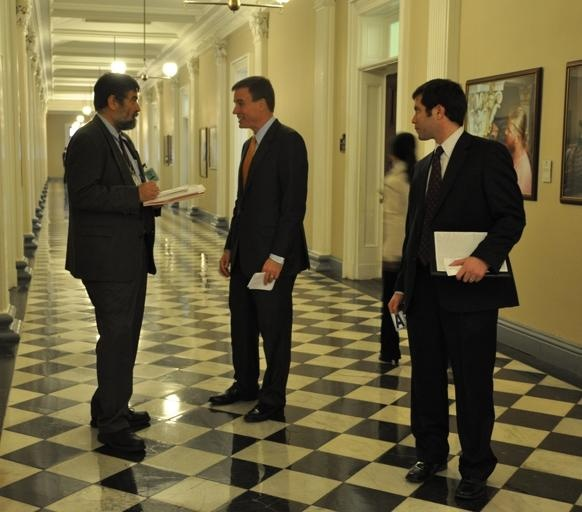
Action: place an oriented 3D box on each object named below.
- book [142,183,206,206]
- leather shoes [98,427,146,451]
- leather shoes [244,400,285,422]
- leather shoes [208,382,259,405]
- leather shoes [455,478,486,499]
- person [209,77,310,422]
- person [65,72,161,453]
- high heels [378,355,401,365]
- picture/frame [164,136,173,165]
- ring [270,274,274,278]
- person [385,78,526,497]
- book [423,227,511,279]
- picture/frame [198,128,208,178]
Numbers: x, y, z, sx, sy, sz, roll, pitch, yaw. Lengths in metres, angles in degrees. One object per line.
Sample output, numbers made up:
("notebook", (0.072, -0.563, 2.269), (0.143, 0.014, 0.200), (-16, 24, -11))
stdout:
("book", (-0.656, -0.344, 2.743), (0.305, 0.126, 0.447), (-1, 6, -17))
("leather shoes", (-0.933, 1.004, 2.778), (0.255, 0.117, 0.114), (2, 5, 10))
("leather shoes", (-0.174, 0.990, 3.191), (0.308, 0.124, 0.103), (6, -4, -28))
("leather shoes", (-0.391, 0.933, 3.481), (0.425, 0.173, 0.140), (1, -3, -17))
("leather shoes", (0.799, 1.036, 2.225), (0.128, 0.045, 0.071), (-3, 11, 16))
("person", (-0.173, -0.036, 3.168), (0.392, 2.132, 0.612), (-3, 6, -33))
("person", (-0.955, 0.030, 2.740), (0.528, 2.077, 0.527), (-4, 7, -44))
("high heels", (0.849, 0.889, 4.348), (0.150, 0.098, 0.077), (6, 8, 15))
("picture/frame", (-5.549, -4.838, 22.362), (0.118, 1.705, 1.554), (1, 4, -24))
("ring", (-0.115, 0.111, 2.896), (0.017, 0.016, 0.030), (1, -4, 3))
("person", (0.735, 0.166, 2.262), (0.445, 1.898, 0.610), (0, 5, -5))
("book", (0.678, -0.018, 2.019), (0.209, 0.164, 0.174), (-5, 7, -44))
("picture/frame", (-2.960, -3.533, 16.680), (0.138, 2.031, 1.781), (1, 2, -19))
